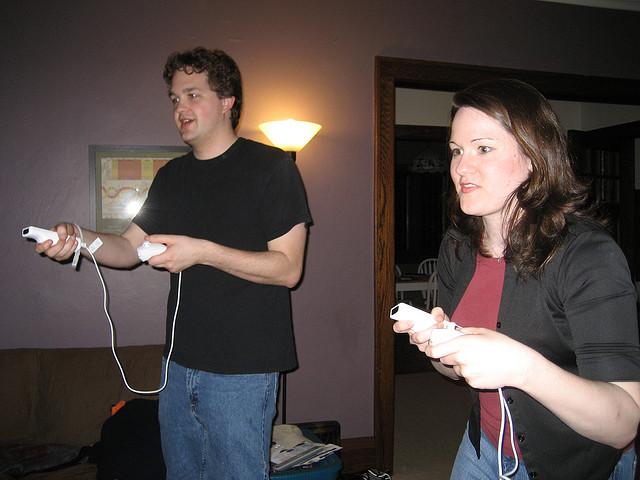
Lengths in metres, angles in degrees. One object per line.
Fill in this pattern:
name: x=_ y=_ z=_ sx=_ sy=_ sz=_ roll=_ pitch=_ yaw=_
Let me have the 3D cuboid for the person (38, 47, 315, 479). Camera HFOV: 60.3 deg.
person: x=-0.538 y=0.065 z=2.541 sx=0.978 sy=1.974 sz=0.437 roll=-1 pitch=-1 yaw=-6

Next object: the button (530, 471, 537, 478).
button: x=0.810 y=0.885 z=2.093 sx=0.025 sy=0.026 sz=0.006 roll=-5 pitch=-4 yaw=20

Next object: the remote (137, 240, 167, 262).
remote: x=-0.705 y=0.036 z=2.342 sx=0.106 sy=0.080 sz=0.048 roll=-22 pitch=-20 yaw=-6

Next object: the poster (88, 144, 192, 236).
poster: x=-1.035 y=-0.279 z=3.093 sx=0.561 sy=0.568 sz=0.023 roll=-1 pitch=4 yaw=-9

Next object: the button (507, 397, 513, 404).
button: x=0.727 y=0.610 z=2.109 sx=0.019 sy=0.023 sz=0.005 roll=-2 pitch=-1 yaw=22

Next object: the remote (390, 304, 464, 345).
remote: x=0.405 y=0.302 z=1.987 sx=0.173 sy=0.136 sz=0.351 roll=0 pitch=-1 yaw=-34

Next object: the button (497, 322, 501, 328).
button: x=0.694 y=0.326 z=2.138 sx=0.018 sy=0.021 sz=0.008 roll=-5 pitch=-15 yaw=16

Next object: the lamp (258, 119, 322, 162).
lamp: x=-0.166 y=-0.651 z=3.512 sx=0.305 sy=0.353 sz=0.317 roll=4 pitch=12 yaw=18
